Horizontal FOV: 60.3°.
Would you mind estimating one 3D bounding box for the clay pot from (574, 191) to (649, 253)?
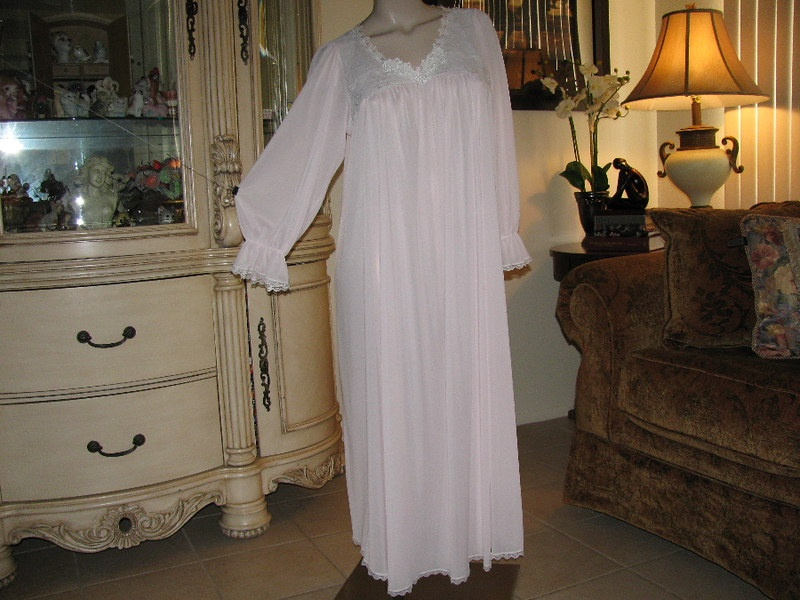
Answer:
[{"bbox_3d":[0.949,-0.337,3.038,0.373,0.286,0.258,4,4,27],"label":"clay pot"}]

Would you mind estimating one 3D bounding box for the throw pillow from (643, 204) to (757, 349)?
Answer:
[{"bbox_3d":[1.077,-0.069,2.479,0.373,0.423,0.121,-1,-6,4],"label":"throw pillow"}]

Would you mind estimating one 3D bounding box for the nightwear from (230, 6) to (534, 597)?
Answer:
[{"bbox_3d":[-0.024,0.001,1.935,0.740,1.613,0.491,1,13,14],"label":"nightwear"}]

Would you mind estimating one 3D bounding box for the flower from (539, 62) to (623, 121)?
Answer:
[{"bbox_3d":[0.857,-0.948,3.172,0.356,0.235,0.395,2,14,18],"label":"flower"}]
